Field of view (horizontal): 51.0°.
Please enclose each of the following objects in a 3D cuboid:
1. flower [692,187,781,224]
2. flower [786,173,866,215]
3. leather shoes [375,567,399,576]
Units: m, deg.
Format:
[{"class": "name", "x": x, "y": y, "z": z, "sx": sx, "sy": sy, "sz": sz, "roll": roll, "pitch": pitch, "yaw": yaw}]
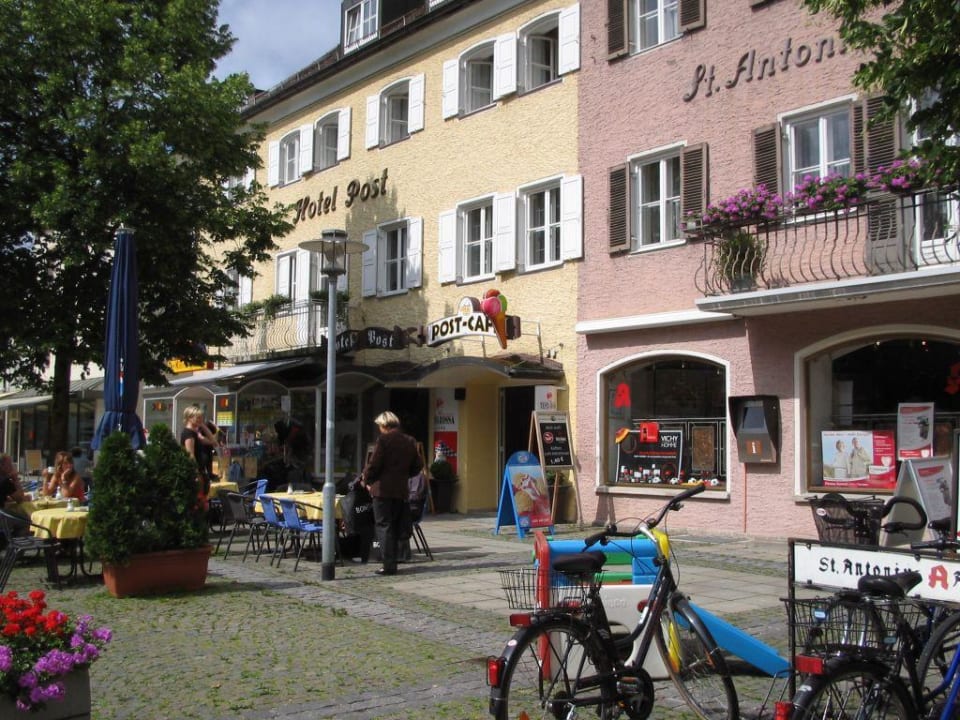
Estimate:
[{"class": "flower", "x": 4.150, "y": -2.399, "z": 15.854, "sx": 0.854, "sy": 0.394, "sz": 0.711, "roll": -10, "pitch": 22, "yaw": 28}, {"class": "flower", "x": 5.159, "y": -2.456, "z": 14.805, "sx": 0.653, "sy": 0.348, "sz": 0.751, "roll": -10, "pitch": 10, "yaw": -10}, {"class": "leather shoes", "x": -1.218, "y": 2.723, "z": 13.064, "sx": 0.319, "sy": 0.105, "sz": 0.190, "roll": -2, "pitch": -8, "yaw": 9}]
